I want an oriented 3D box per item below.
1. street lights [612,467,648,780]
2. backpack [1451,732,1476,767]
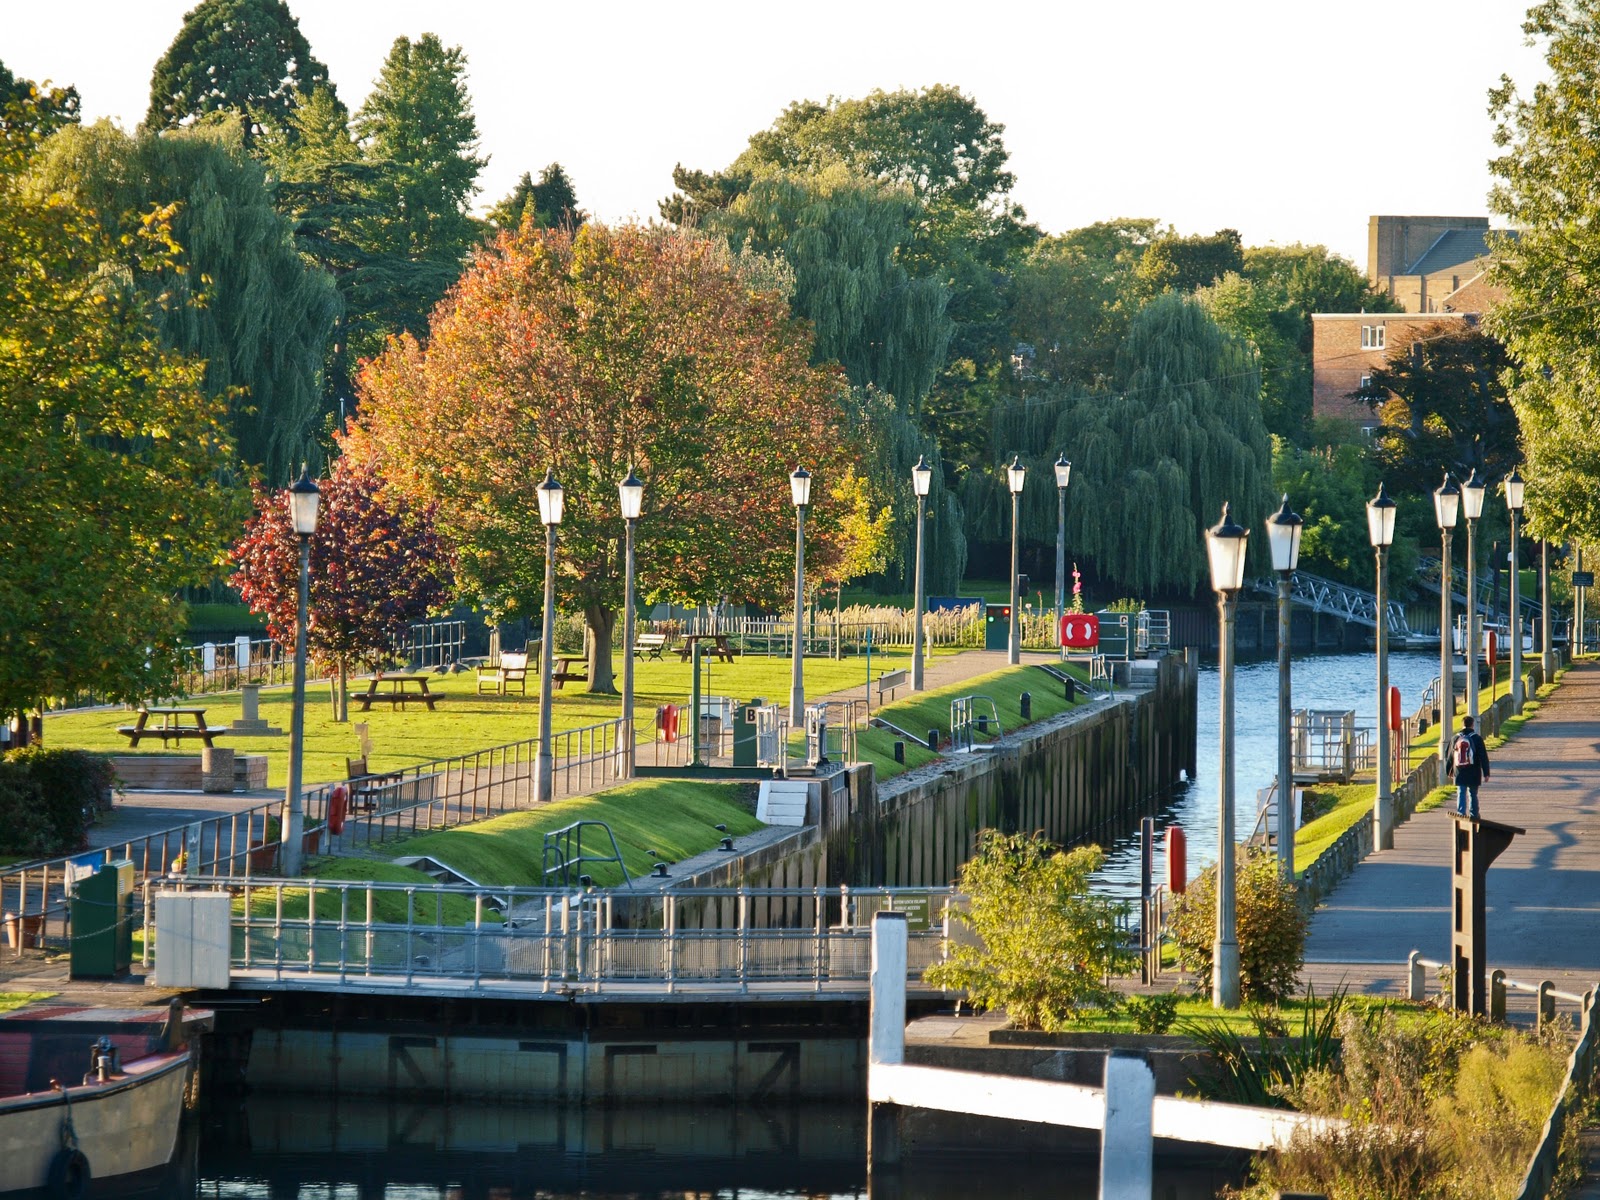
[{"bbox_3d":[-3.731,0.426,88.594,0.876,8.145,0.736,-1,2,23],"label":"street lights"},{"bbox_3d":[13.480,3.137,85.067,0.578,0.708,0.404,6,9,43],"label":"backpack"}]
